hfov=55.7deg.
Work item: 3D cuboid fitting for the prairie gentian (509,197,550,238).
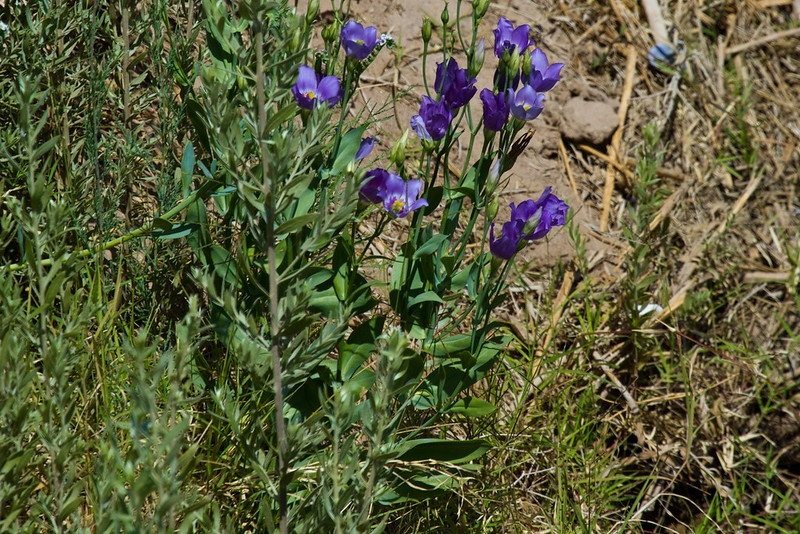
[{"bbox_3d":[0.378,-0.126,2.194,0.092,0.124,0.108,34,9,20],"label":"prairie gentian"}]

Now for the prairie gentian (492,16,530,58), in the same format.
[{"bbox_3d":[0.324,-0.656,2.196,0.100,0.109,0.160,17,20,5],"label":"prairie gentian"}]

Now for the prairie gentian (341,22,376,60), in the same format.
[{"bbox_3d":[-0.123,-0.655,2.191,0.094,0.096,0.125,15,20,-2],"label":"prairie gentian"}]

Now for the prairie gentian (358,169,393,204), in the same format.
[{"bbox_3d":[-0.073,-0.226,2.147,0.071,0.111,0.147,14,20,0],"label":"prairie gentian"}]

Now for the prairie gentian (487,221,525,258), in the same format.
[{"bbox_3d":[0.309,-0.076,2.202,0.082,0.105,0.095,19,32,5],"label":"prairie gentian"}]

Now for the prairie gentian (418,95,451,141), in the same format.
[{"bbox_3d":[0.081,-0.424,2.166,0.085,0.125,0.108,-1,4,-29],"label":"prairie gentian"}]

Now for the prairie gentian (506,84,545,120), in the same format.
[{"bbox_3d":[0.385,-0.472,2.201,0.092,0.097,0.198,25,21,26],"label":"prairie gentian"}]

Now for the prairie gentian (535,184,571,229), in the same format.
[{"bbox_3d":[0.436,-0.161,2.202,0.092,0.131,0.066,-6,-8,-25],"label":"prairie gentian"}]

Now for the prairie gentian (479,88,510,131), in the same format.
[{"bbox_3d":[0.267,-0.442,2.142,0.081,0.114,0.108,-8,44,0],"label":"prairie gentian"}]
